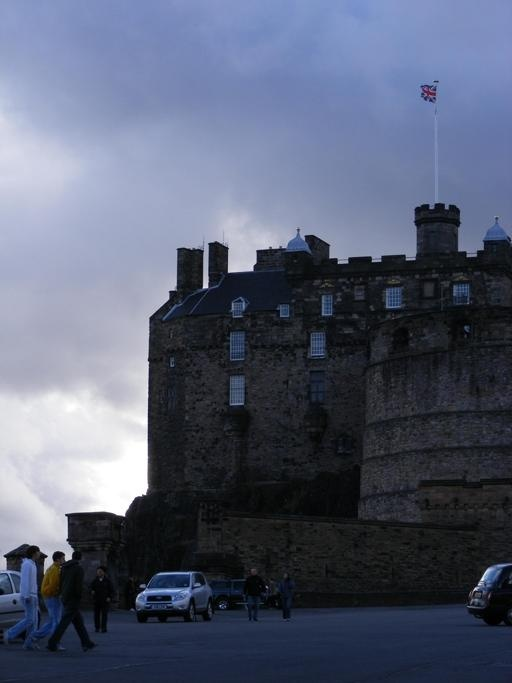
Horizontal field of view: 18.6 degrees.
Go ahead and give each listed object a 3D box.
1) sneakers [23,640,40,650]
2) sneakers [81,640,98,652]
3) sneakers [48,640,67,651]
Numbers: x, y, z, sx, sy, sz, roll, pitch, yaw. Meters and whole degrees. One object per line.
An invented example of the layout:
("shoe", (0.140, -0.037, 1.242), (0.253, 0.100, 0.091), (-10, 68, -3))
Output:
("sneakers", (-3.221, 4.419, 22.596), (0.206, 0.200, 0.149), (-4, -6, -6))
("sneakers", (-2.321, 4.362, 22.258), (0.109, 0.141, 0.305), (6, 8, 44))
("sneakers", (-2.774, 4.327, 22.031), (0.328, 0.138, 0.110), (4, 4, -16))
